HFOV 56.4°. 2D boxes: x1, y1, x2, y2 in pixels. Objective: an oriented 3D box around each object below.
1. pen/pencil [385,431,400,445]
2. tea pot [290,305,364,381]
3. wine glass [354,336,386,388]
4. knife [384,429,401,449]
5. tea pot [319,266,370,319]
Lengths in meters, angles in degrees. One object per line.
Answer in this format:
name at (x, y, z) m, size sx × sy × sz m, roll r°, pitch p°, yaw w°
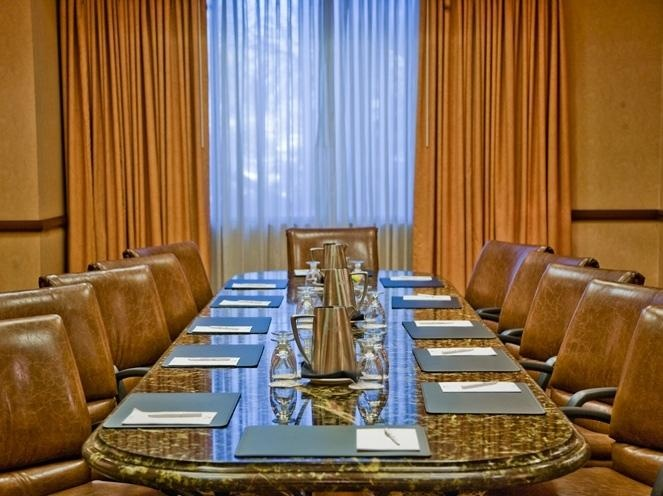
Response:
pen/pencil at (0.148, 0.458, 1.489) m, size 0.013 × 0.013 × 0.048 m, roll -42°, pitch 20°, yaw 1°
tea pot at (-0.039, 0.279, 1.860) m, size 0.230 × 0.254 × 0.157 m, roll -5°, pitch 2°, yaw -8°
wine glass at (0.106, 0.325, 1.776) m, size 0.120 × 0.194 × 0.112 m, roll -1°, pitch -1°, yaw -1°
knife at (0.147, 0.457, 1.492) m, size 0.013 × 0.020 × 0.061 m, roll 10°, pitch 28°, yaw -34°
tea pot at (0.049, 0.166, 2.376) m, size 0.213 × 0.203 × 0.138 m, roll 2°, pitch -2°, yaw -5°
